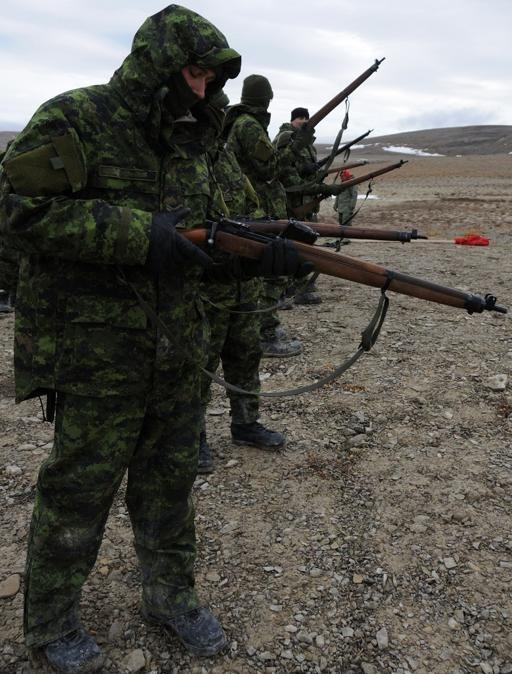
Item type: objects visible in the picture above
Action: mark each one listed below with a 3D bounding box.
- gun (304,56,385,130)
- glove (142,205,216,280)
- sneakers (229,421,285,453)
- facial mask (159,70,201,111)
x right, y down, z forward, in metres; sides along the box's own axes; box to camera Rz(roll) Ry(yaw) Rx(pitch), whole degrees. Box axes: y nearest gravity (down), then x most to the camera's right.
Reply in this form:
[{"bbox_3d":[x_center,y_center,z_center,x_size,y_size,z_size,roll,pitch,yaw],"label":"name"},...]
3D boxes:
[{"bbox_3d":[1.005,-2.700,6.397,0.180,0.082,1.190,4,-24,-42],"label":"gun"},{"bbox_3d":[-0.244,-0.297,1.746,0.202,0.183,0.137,-4,14,-22],"label":"glove"},{"bbox_3d":[0.013,0.658,3.774,0.392,0.204,0.158,-1,9,3],"label":"sneakers"},{"bbox_3d":[-0.242,-0.779,1.837,0.091,0.105,0.098,-21,-15,33],"label":"facial mask"}]
